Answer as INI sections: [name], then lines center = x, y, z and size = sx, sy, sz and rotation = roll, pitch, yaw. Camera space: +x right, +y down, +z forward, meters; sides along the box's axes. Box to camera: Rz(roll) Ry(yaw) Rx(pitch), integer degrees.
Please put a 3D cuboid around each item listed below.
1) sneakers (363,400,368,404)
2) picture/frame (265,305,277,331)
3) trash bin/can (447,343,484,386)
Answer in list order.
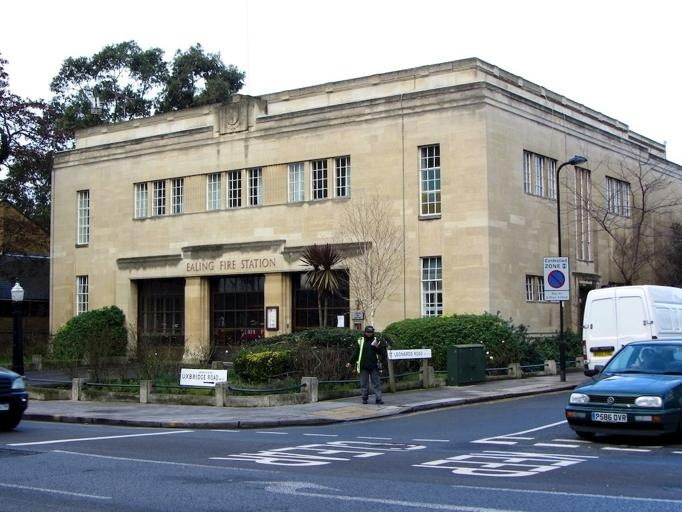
[sneakers]
center = 0.696, 4.333, 25.302
size = 0.131, 0.146, 0.094
rotation = -4, -4, 22
[picture/frame]
center = -3.206, 2.884, 39.736
size = 0.739, 1.165, 0.167
rotation = -9, -12, 40
[trash bin/can]
center = 4.428, 3.893, 30.240
size = 0.462, 1.196, 1.204
rotation = -8, -9, 44
